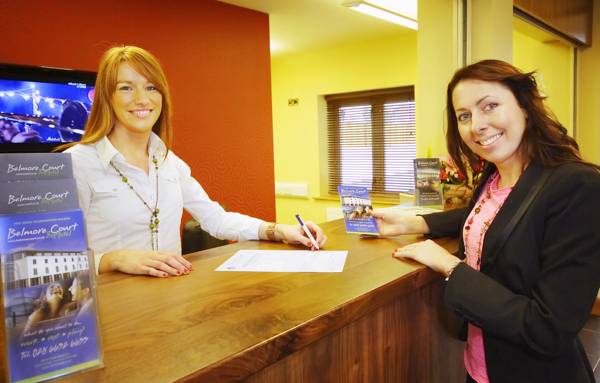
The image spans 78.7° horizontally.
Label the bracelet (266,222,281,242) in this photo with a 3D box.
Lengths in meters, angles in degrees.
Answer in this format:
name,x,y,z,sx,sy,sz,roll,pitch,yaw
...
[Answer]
name,x,y,z,sx,sy,sz,roll,pitch,yaw
bracelet,-0.153,0.215,1.923,0.062,0.097,0.091,2,9,11
